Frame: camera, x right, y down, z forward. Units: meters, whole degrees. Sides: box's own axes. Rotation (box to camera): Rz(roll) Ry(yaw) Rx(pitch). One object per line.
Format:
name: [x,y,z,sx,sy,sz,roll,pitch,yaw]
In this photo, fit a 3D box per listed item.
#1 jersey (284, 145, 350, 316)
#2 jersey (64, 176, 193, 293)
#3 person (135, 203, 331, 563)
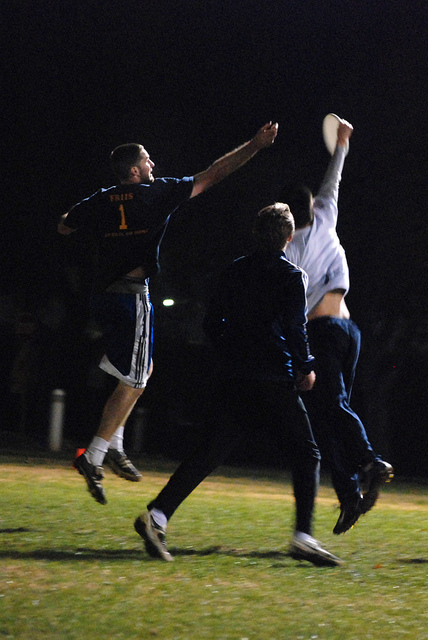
jersey: [0.713,-0.572,4.183,0.410,0.807,0.675,10,-4,10]
jersey: [-0.515,-0.534,4.142,1.051,0.630,0.301,1,4,28]
person: [0.232,0.306,3.358,0.897,1.459,0.360,10,-4,9]
